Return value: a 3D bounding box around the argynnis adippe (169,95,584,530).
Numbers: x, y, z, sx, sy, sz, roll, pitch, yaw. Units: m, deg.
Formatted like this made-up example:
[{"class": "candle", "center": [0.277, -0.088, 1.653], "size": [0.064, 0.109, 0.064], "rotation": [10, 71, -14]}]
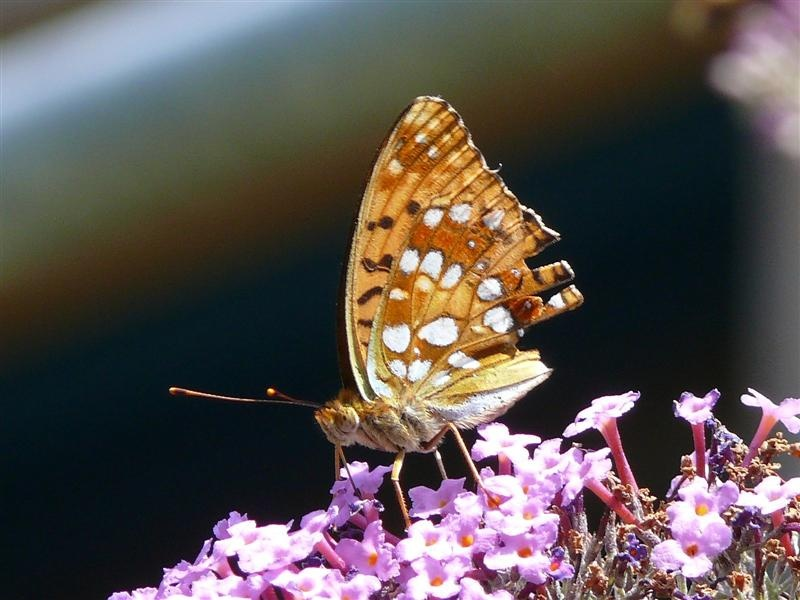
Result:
[{"class": "argynnis adippe", "center": [0.252, -0.003, 4.484], "size": [1.402, 1.800, 0.856], "rotation": [1, 4, 7]}]
